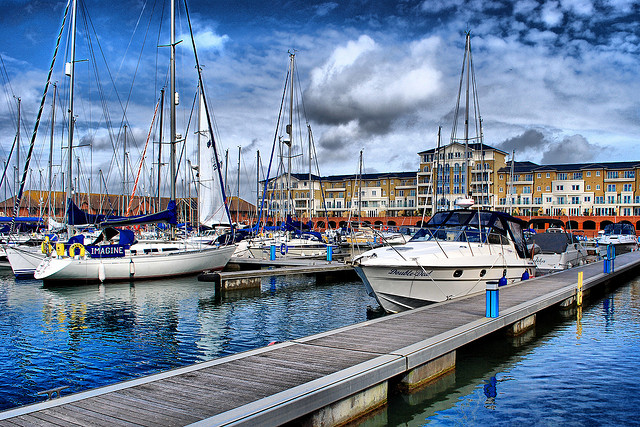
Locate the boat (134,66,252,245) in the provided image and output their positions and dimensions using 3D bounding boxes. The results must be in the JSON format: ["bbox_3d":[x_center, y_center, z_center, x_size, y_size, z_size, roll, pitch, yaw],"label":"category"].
[{"bbox_3d":[-8.992,-4.593,39.667,10.548,13.775,3.358,9,-20,-32],"label":"boat"}]

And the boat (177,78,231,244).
[{"bbox_3d":[-7.274,-3.168,39.032,4.712,10.534,2.340,0,15,-28],"label":"boat"}]

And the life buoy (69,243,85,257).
[{"bbox_3d":[-12.814,1.917,32.034,0.735,0.676,0.233,4,-8,-44],"label":"life buoy"}]

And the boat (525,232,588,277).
[{"bbox_3d":[13.041,2.323,33.751,2.633,2.064,5.460,-1,-1,-16],"label":"boat"}]

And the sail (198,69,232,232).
[{"bbox_3d":[-7.085,-3.921,38.816,1.590,9.731,4.354,-5,7,-17],"label":"sail"}]

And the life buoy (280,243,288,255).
[{"bbox_3d":[-2.628,2.534,43.379,0.543,0.696,0.277,-2,-8,2],"label":"life buoy"}]

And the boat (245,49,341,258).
[{"bbox_3d":[-2.278,-4.111,44.575,6.104,15.597,23.467,-2,6,0],"label":"boat"}]
